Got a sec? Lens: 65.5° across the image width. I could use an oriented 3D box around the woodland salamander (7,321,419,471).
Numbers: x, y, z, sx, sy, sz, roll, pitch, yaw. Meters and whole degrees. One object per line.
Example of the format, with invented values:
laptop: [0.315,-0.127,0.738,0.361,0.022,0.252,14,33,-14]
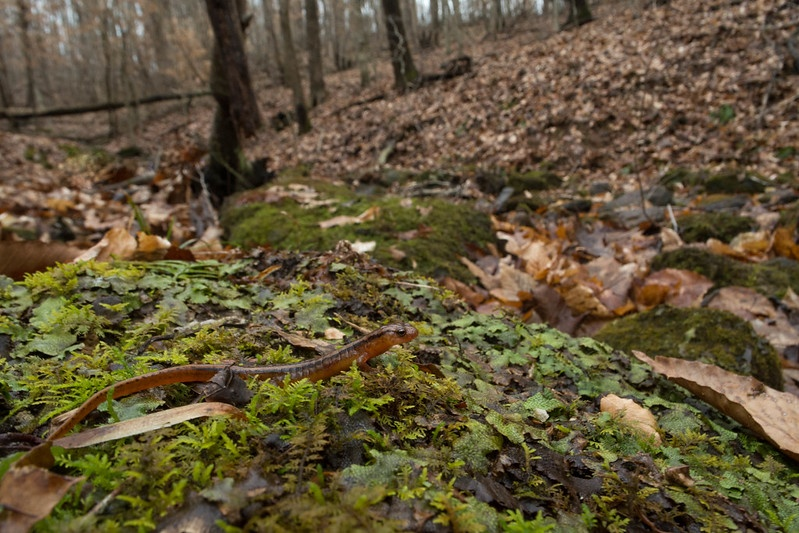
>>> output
woodland salamander: [-1.437,1.099,6.145,3.439,0.427,1.001,-8,2,-14]
